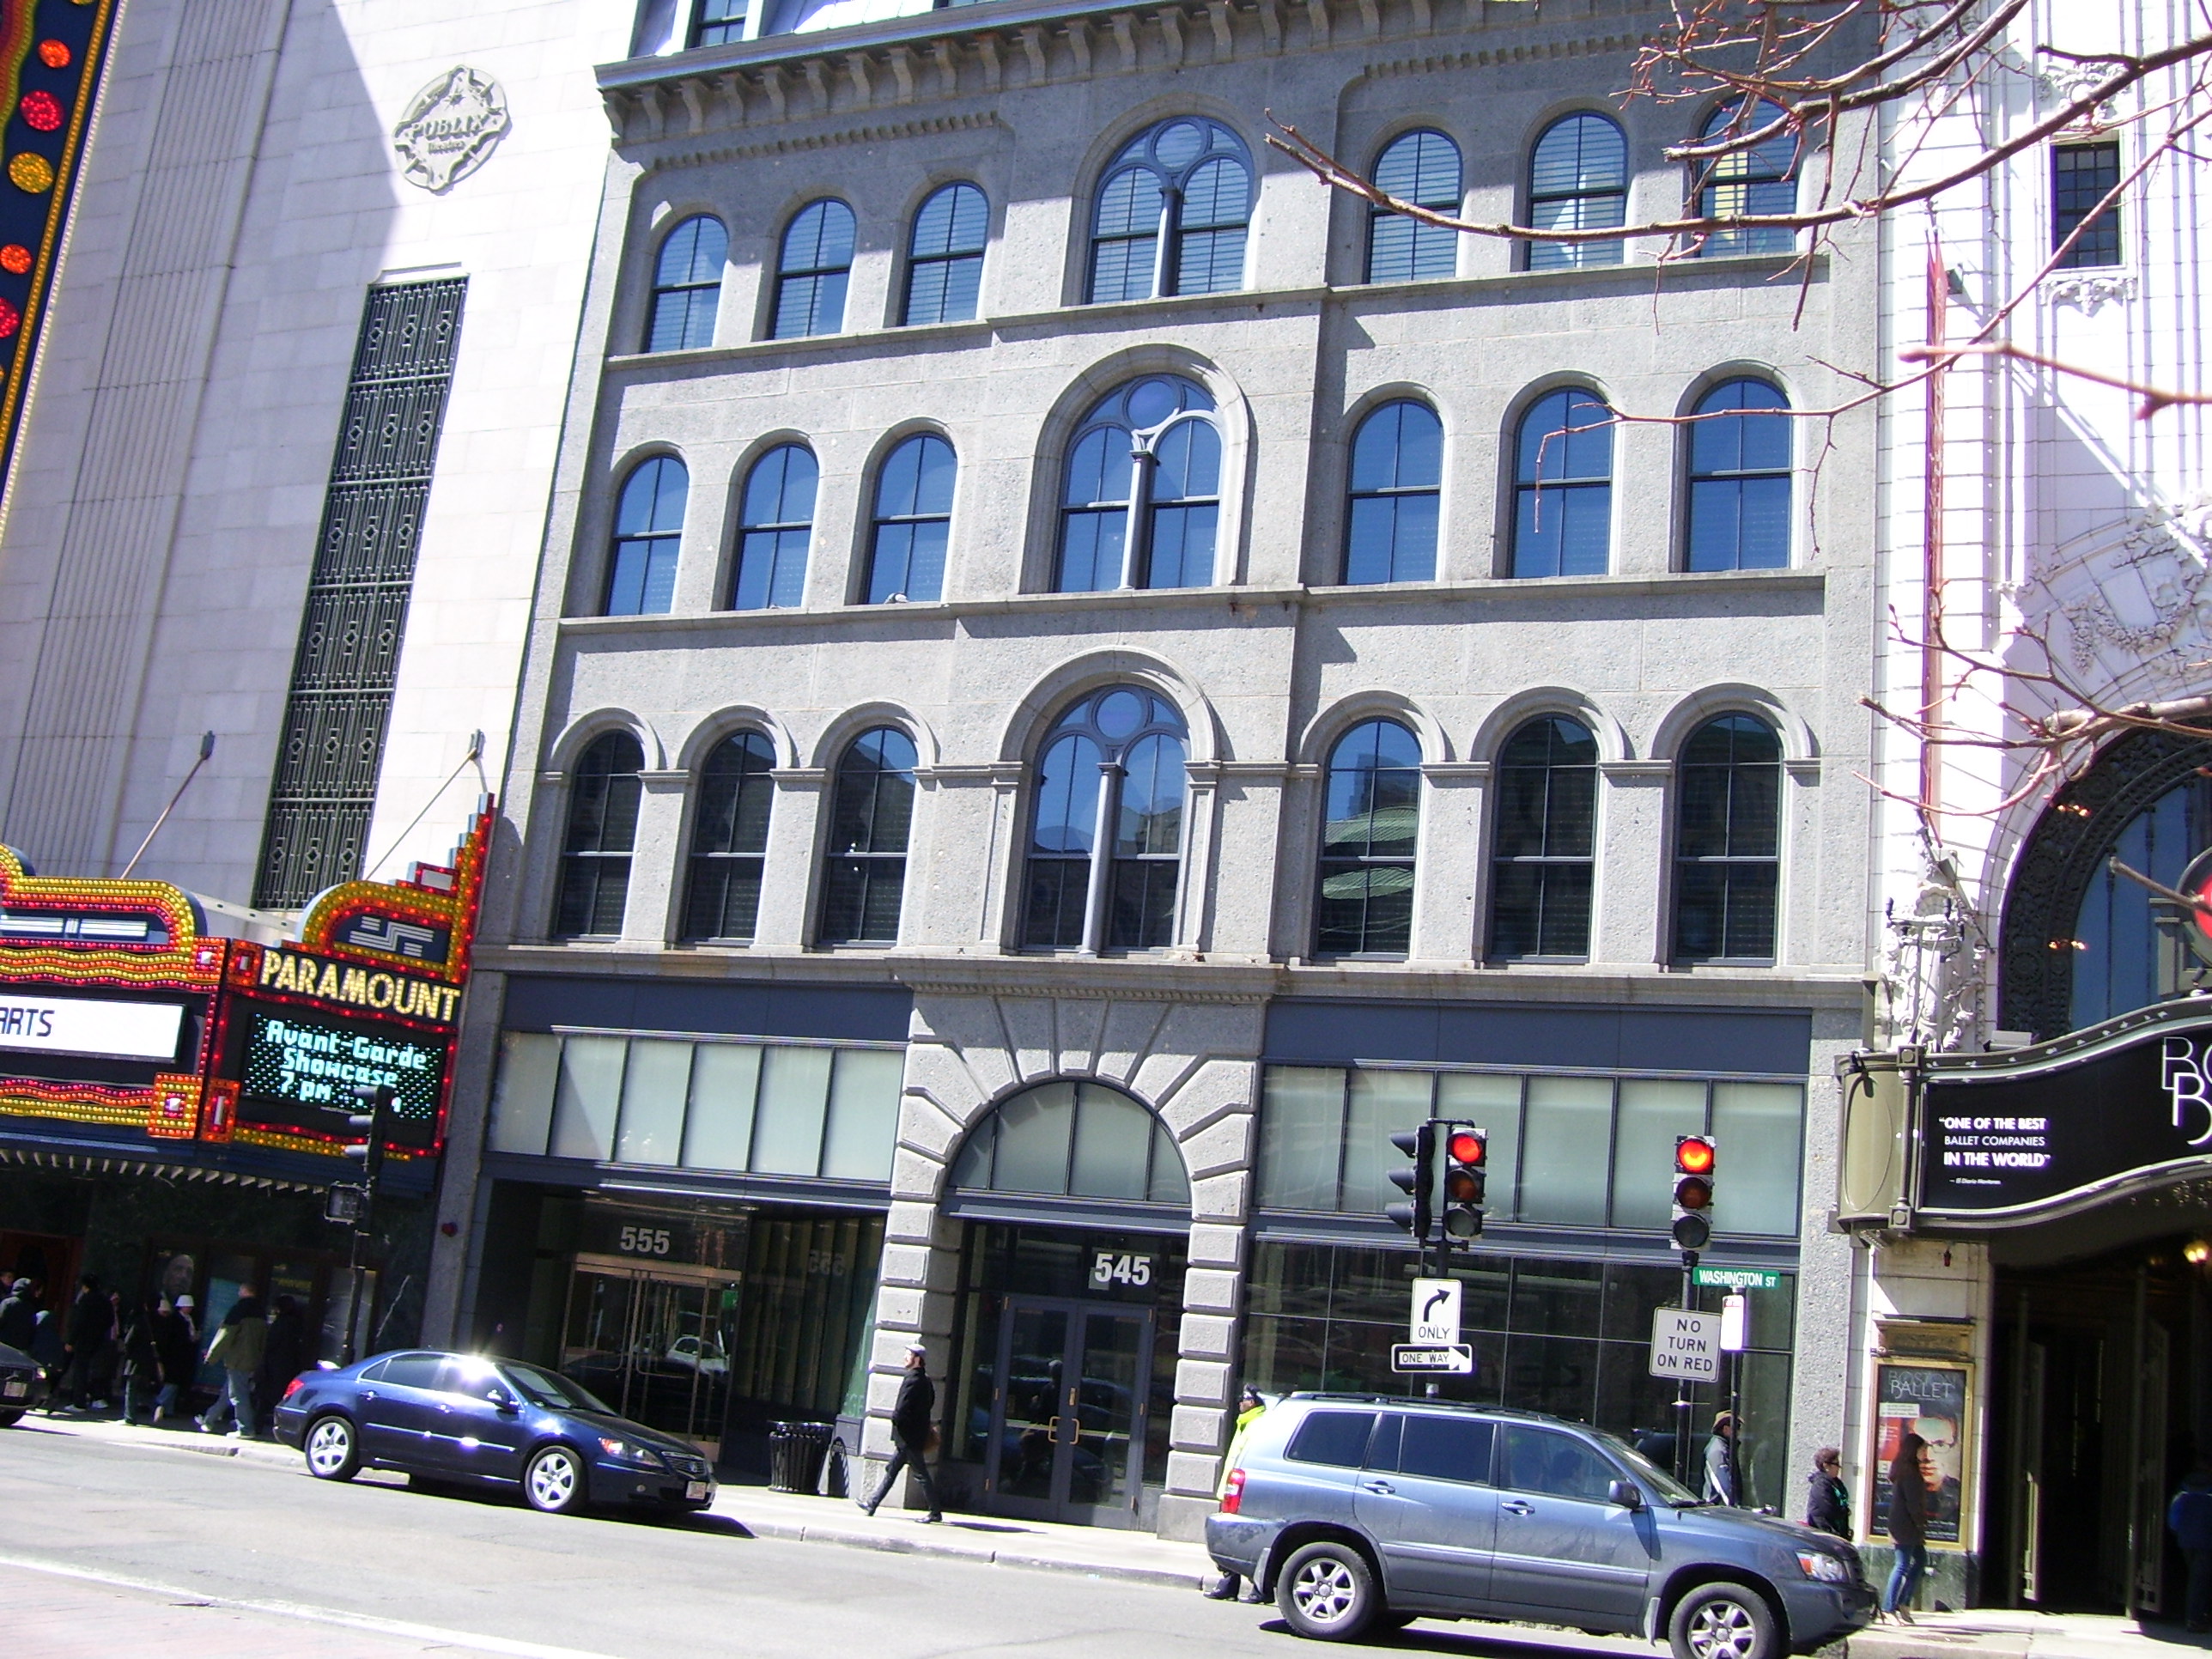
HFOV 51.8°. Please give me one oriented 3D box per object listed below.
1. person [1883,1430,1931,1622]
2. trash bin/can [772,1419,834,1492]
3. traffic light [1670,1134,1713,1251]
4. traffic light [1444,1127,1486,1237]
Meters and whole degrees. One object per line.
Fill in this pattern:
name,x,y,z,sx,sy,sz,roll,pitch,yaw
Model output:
person,8.912,7.726,25.397,0.499,2.059,1.429,-1,-19,19
trash bin/can,-4.293,8.722,31.684,0.923,0.980,0.892,3,-14,-14
traffic light,6.113,3.812,23.748,0.356,1.348,0.777,2,-18,12
traffic light,3.801,3.728,24.292,0.405,1.277,0.473,4,-18,5
